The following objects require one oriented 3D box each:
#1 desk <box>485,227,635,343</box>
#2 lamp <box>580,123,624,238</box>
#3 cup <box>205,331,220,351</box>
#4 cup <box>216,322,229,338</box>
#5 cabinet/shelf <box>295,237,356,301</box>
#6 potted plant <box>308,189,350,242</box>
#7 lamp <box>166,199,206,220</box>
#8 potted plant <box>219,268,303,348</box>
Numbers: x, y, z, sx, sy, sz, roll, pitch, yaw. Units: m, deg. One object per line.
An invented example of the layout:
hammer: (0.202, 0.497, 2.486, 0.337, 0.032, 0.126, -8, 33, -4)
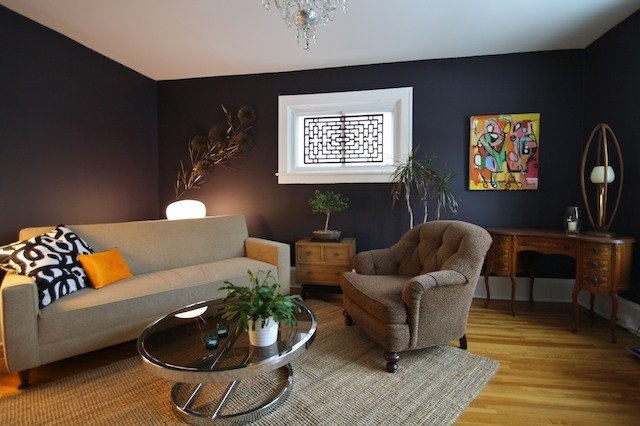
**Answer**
desk: (2.893, 0.510, 5.108, 1.875, 1.326, 1.010, -1, -2, 39)
lamp: (3.263, -0.408, 4.915, 0.442, 1.285, 0.788, 4, 8, 31)
cup: (-0.943, 1.122, 3.694, 0.121, 0.122, 0.126, -2, -4, 0)
cup: (-0.864, 1.068, 3.832, 0.102, 0.115, 0.101, -1, -4, 0)
cabinet/shelf: (0.102, 0.739, 5.664, 0.777, 0.761, 0.587, 1, 6, 21)
potted plant: (0.067, 0.036, 5.750, 0.599, 0.709, 0.477, -1, 0, -18)
lamp: (-1.824, -0.030, 5.798, 0.376, 0.263, 0.373, -1, -1, -31)
potted plant: (-0.570, 0.884, 3.973, 0.717, 0.553, 0.734, 1, 0, 13)
